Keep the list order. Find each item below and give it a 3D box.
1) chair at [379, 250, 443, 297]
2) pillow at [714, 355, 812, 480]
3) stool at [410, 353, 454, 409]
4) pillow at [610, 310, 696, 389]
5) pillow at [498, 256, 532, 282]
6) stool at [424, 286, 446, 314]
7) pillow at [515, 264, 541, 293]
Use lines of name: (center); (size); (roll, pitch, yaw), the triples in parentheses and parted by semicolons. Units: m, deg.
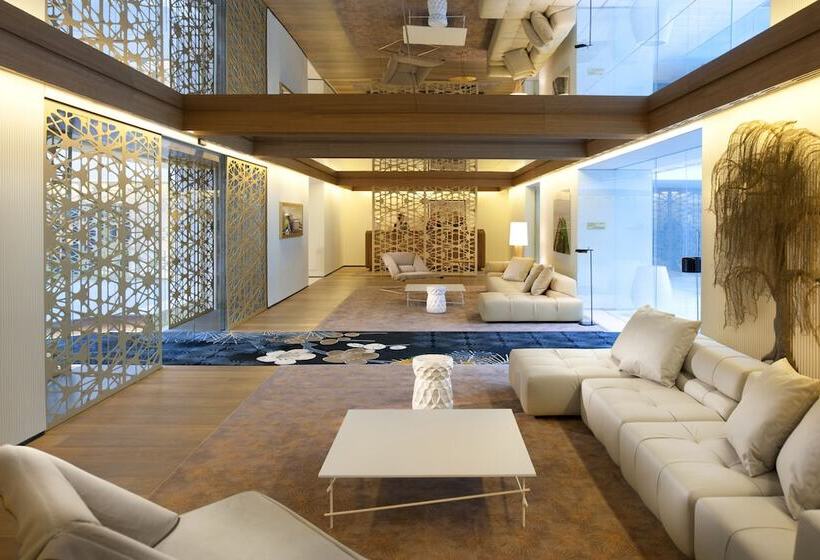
chair: (0.053, -0.207, 12.157); (1.378, 0.971, 1.304); (2, -2, -34)
pillow: (2.094, 0.857, 3.009); (0.502, 0.324, 0.560); (-24, 28, 39)
stool: (0.172, 0.880, 4.328); (0.488, 0.563, 0.440); (0, -4, 0)
pillow: (2.206, 0.702, 4.467); (0.208, 0.658, 0.657); (40, -14, -13)
pillow: (2.317, -0.225, 11.109); (0.632, 0.544, 0.188); (3, -33, 45)
stool: (0.446, 0.390, 9.341); (0.543, 0.535, 0.466); (0, 0, 0)
pillow: (2.188, 0.009, 9.453); (0.173, 0.520, 0.515); (20, 49, -4)
